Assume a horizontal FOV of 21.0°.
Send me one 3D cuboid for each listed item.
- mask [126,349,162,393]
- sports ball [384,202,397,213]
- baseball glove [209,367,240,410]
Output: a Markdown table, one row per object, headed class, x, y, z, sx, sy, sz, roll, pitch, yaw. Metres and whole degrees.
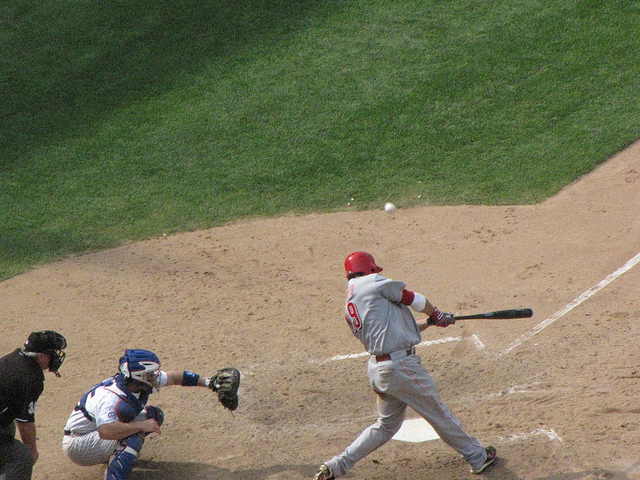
| class | x | y | z | sx | sy | sz | roll | pitch | yaw |
| --- | --- | --- | --- | --- | --- | --- | --- | --- | --- |
| mask | -3.355 | 2.340 | 32.017 | 0.817 | 0.762 | 0.609 | -3 | 18 | -31 |
| sports ball | 1.463 | -0.714 | 36.412 | 0.214 | 0.203 | 0.246 | 1 | -6 | 7 |
| baseball glove | -1.708 | 2.739 | 32.067 | 0.558 | 0.732 | 0.320 | -24 | -9 | 31 |
